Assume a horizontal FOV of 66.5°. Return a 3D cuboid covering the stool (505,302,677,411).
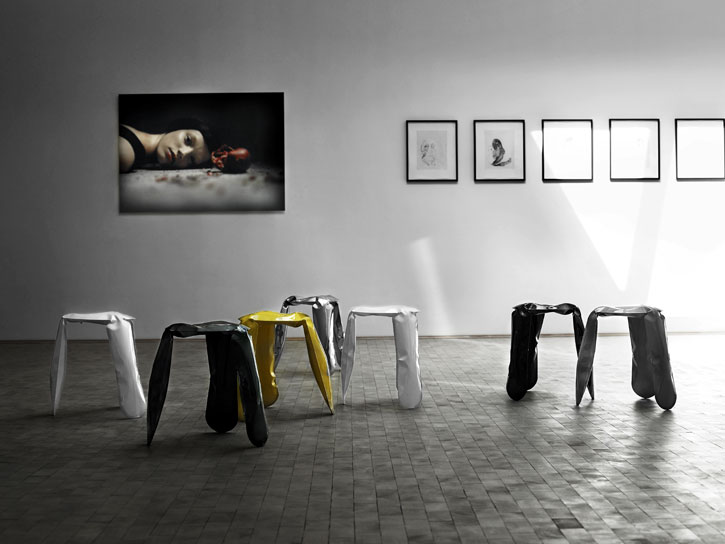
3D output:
[{"bbox_3d":[1.804,0.588,4.206,1.010,0.742,0.826,-2,-9,11],"label":"stool"}]
